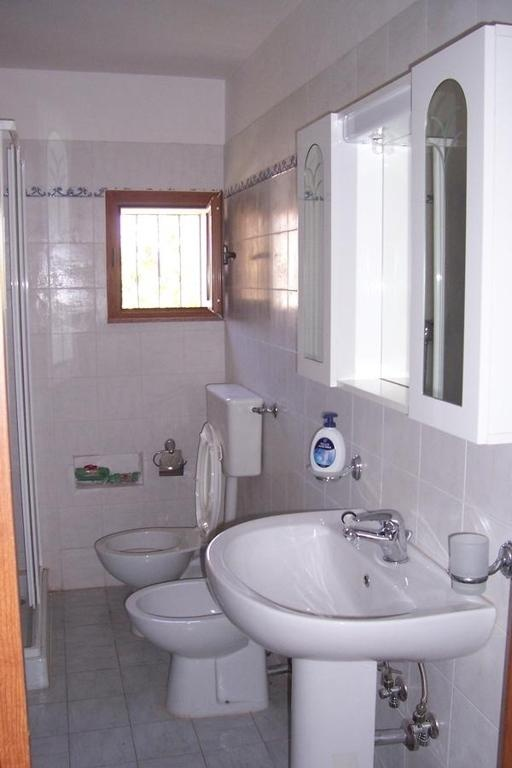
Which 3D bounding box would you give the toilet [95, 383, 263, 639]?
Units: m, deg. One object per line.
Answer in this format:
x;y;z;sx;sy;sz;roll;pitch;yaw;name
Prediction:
-0.320;0.425;2.875;0.813;1.688;0.685;1;7;-13;toilet

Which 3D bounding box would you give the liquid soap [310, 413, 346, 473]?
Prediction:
0.193;0.167;1.565;0.088;0.174;0.055;0;3;10;liquid soap

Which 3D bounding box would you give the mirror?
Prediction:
0.264;-0.286;1.386;0.259;0.629;0.145;-10;16;-38;mirror

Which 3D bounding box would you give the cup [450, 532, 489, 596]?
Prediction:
0.351;0.296;0.955;0.060;0.107;0.126;1;3;24;cup
